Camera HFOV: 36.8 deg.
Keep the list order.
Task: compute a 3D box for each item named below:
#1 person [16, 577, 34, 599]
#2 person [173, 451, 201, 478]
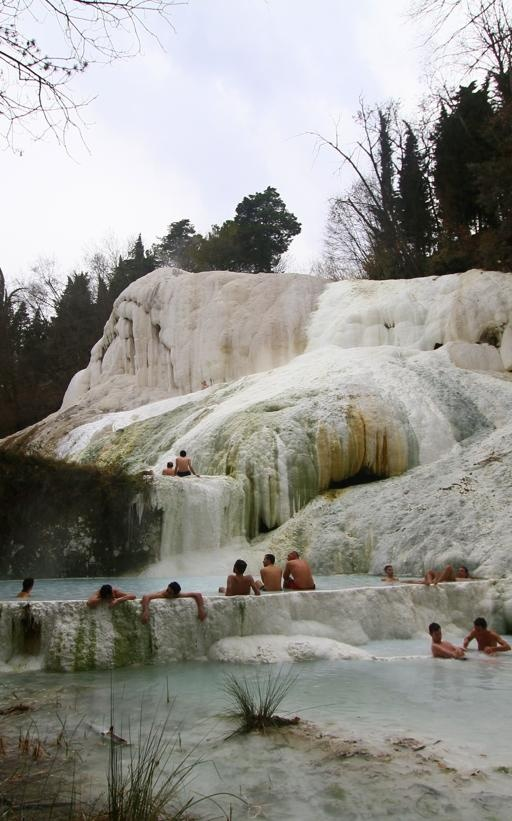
[{"bbox_3d":[-2.815,2.165,9.344,0.156,0.272,1.382,1,-6,-17],"label":"person"},{"bbox_3d":[-1.445,1.059,15.453,0.425,0.577,1.453,0,-6,-7],"label":"person"}]
